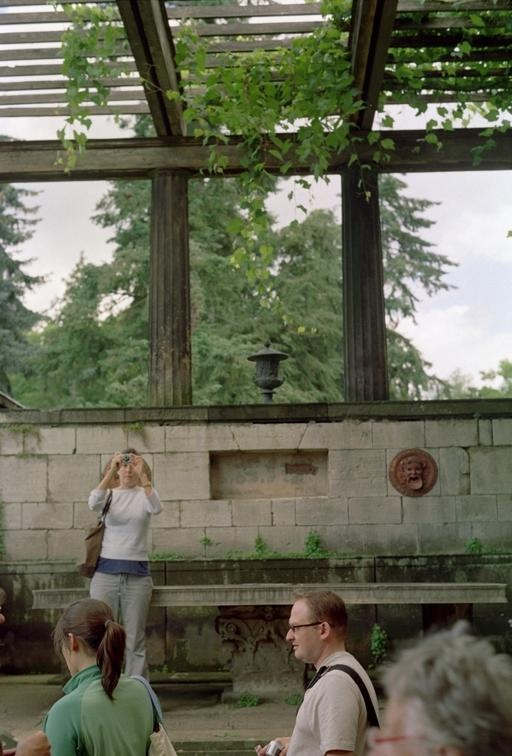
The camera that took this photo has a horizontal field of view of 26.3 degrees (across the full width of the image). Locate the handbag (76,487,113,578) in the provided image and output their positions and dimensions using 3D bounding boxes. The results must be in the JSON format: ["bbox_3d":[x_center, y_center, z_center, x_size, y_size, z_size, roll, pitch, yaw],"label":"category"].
[{"bbox_3d":[-1.159,1.134,7.916,0.245,0.617,0.181,-2,-7,-9],"label":"handbag"}]

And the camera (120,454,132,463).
[{"bbox_3d":[-0.947,0.590,7.936,0.066,0.059,0.019,-3,-11,4],"label":"camera"}]
